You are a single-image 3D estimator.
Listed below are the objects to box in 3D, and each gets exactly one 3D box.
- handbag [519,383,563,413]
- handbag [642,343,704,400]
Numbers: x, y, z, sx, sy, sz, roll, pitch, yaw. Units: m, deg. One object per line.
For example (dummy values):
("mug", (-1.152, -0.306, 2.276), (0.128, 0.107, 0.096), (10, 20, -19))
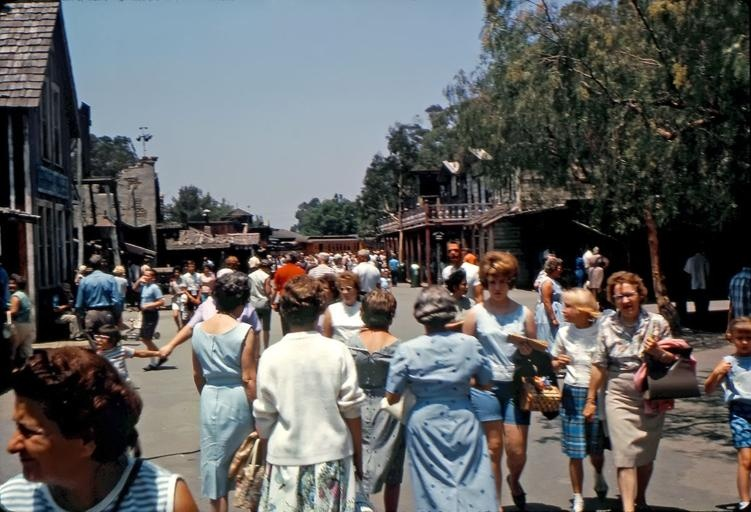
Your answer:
("handbag", (1.604, 1.379, 6.972), (0.326, 0.170, 0.310), (0, 2, 25))
("handbag", (2.705, 1.069, 6.765), (0.552, 0.559, 0.280), (-3, -1, 6))
